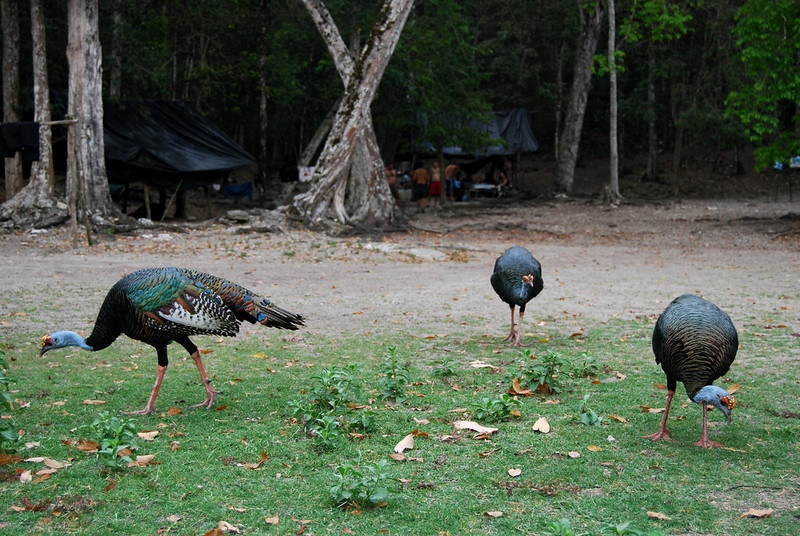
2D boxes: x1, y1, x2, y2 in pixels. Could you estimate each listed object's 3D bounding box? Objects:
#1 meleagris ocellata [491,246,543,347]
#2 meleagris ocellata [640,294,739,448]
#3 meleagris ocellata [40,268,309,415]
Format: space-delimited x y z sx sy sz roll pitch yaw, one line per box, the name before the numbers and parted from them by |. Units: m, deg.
meleagris ocellata | 3.109 0.733 28.131 1.439 2.573 1.381 1 0 10
meleagris ocellata | 6.872 2.416 24.615 1.869 3.323 0.970 2 6 18
meleagris ocellata | -5.495 1.755 25.839 5.915 3.681 2.054 -3 -2 -10
